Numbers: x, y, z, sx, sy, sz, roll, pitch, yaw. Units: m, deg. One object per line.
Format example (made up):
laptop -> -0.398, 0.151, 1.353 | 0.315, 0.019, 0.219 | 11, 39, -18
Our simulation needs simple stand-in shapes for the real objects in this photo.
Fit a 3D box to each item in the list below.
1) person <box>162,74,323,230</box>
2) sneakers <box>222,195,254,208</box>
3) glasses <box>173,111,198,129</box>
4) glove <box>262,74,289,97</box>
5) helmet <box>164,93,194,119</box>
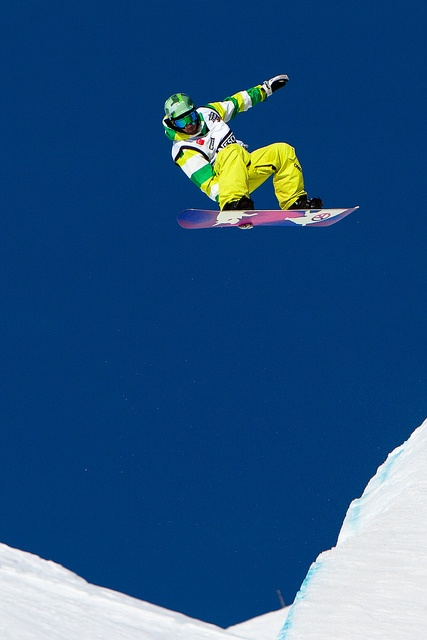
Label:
person -> 0.197, -1.531, 11.773 | 1.462, 0.848, 1.934 | -11, 33, -14
sneakers -> 0.225, -1.047, 11.373 | 0.169, 0.075, 0.114 | -9, -6, 29
glasses -> -0.255, -1.837, 11.601 | 0.136, 0.076, 0.176 | -26, -12, -16
glove -> 0.580, -2.261, 12.193 | 0.269, 0.165, 0.107 | -17, 0, -10
helmet -> -0.333, -1.963, 11.609 | 0.260, 0.173, 0.218 | 18, 48, 36
